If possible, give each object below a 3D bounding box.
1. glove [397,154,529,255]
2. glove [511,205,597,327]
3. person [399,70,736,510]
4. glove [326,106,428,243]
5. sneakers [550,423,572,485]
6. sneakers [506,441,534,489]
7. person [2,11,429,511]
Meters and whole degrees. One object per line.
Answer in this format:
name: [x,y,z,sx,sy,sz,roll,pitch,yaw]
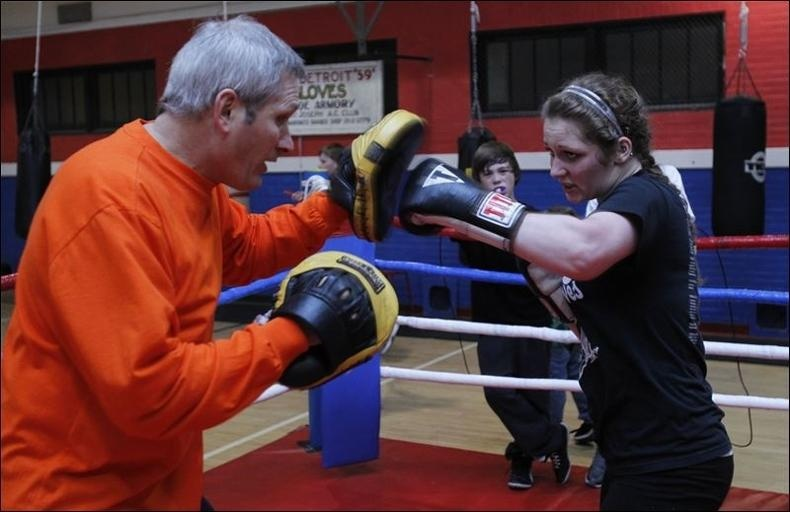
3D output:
glove: [0.204,-0.151,2.267,0.395,0.249,0.144,19,-19,18]
glove: [0.591,0.060,2.397,0.152,0.274,0.383,-22,-40,11]
person: [0.836,0.197,3.290,1.401,2.357,1.157,0,-1,7]
glove: [-0.061,-0.273,2.388,0.211,0.476,0.249,14,6,10]
sneakers: [0.823,1.032,3.625,0.128,0.306,0.103,-14,10,-41]
sneakers: [0.620,1.076,3.553,0.092,0.113,0.270,-1,-5,13]
person: [-0.586,0.061,2.199,1.178,1.569,0.608,-2,11,-12]
